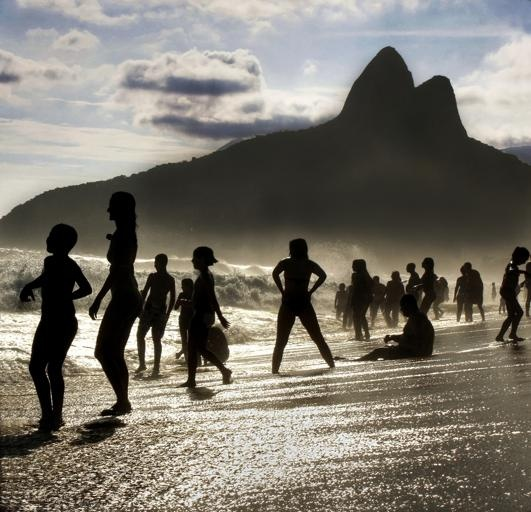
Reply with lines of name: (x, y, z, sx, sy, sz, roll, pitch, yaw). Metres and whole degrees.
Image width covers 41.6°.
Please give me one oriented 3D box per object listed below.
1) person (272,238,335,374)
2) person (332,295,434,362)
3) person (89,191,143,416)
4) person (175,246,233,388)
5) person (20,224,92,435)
person: (0.489, 0.646, 9.016, 0.805, 1.745, 1.464, 1, 1, 2)
person: (1.583, 0.989, 9.352, 1.255, 0.950, 0.604, 1, -4, 14)
person: (-1.304, 0.393, 6.078, 0.443, 1.945, 0.853, 1, 1, -11)
person: (-0.647, 0.669, 7.899, 0.536, 1.545, 0.804, 1, 1, -3)
person: (-1.728, 0.554, 5.807, 0.556, 1.654, 0.842, 1, 1, -19)
